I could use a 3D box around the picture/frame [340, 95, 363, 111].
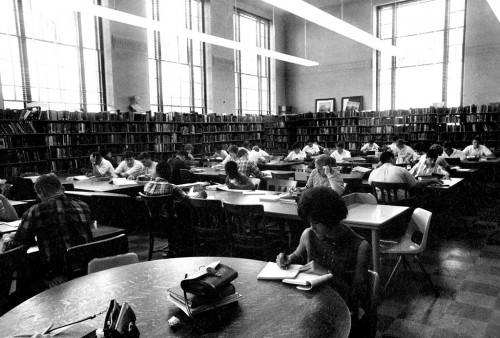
[{"bbox_3d":[4.138,-2.704,16.440,0.640,0.638,0.048,13,7,41],"label":"picture/frame"}]

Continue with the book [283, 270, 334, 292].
[{"bbox_3d":[0.465,0.898,3.283,0.365,0.103,0.180,-4,12,-23],"label":"book"}]

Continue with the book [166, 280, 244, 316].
[{"bbox_3d":[-0.315,0.990,3.049,0.290,0.075,0.298,-10,10,-44],"label":"book"}]

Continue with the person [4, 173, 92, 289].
[{"bbox_3d":[-2.102,0.613,4.138,0.780,1.030,0.620,2,11,8],"label":"person"}]

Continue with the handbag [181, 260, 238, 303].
[{"bbox_3d":[-0.307,0.858,3.061,0.243,0.121,0.331,17,18,27],"label":"handbag"}]
